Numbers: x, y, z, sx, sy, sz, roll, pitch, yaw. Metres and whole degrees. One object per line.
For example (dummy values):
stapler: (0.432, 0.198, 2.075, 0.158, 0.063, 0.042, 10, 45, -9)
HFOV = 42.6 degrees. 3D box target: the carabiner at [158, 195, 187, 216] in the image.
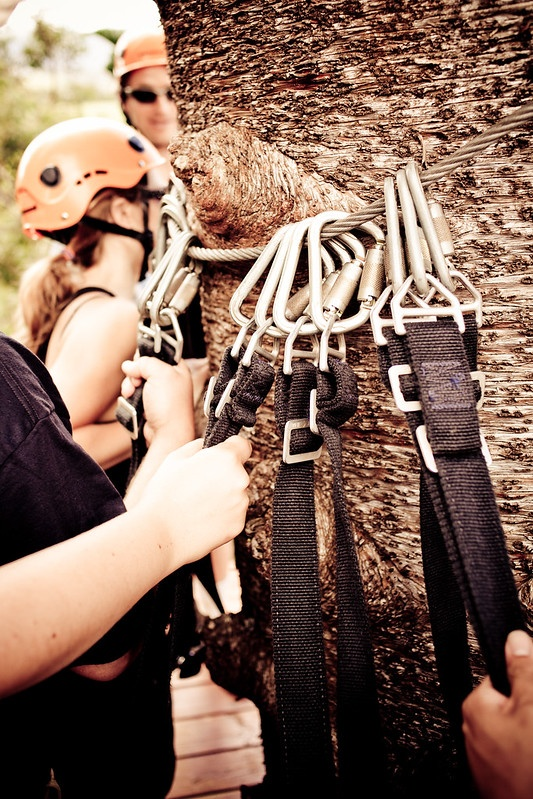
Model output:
carabiner: (-0.183, -0.379, 1.337, 0.048, 0.049, 0.057, 8, 24, 13)

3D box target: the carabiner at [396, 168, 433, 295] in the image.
carabiner: (0.195, -0.231, 0.934, 0.028, 0.201, 0.026, -6, -13, -2)

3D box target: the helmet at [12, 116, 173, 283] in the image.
helmet: (-0.636, -0.727, 2.420, 0.525, 0.502, 0.379, -19, 8, -17)

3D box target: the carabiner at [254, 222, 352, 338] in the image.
carabiner: (0.045, -0.180, 1.042, 0.028, 0.165, 0.104, 0, 10, -41)

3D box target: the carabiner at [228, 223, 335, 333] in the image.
carabiner: (0.030, -0.199, 1.059, 0.117, 0.174, 0.028, -4, 27, -41)

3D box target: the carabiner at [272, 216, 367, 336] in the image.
carabiner: (0.078, -0.185, 1.026, 0.031, 0.183, 0.122, 9, -6, 20)

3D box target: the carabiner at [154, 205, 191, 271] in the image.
carabiner: (-0.191, -0.316, 1.373, 0.040, 0.135, 0.111, -4, 8, -27)

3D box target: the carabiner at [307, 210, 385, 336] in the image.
carabiner: (0.115, -0.182, 0.972, 0.120, 0.178, 0.023, 5, -6, -22)

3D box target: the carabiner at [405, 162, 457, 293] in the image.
carabiner: (0.225, -0.236, 0.943, 0.027, 0.212, 0.023, -18, -6, -3)
